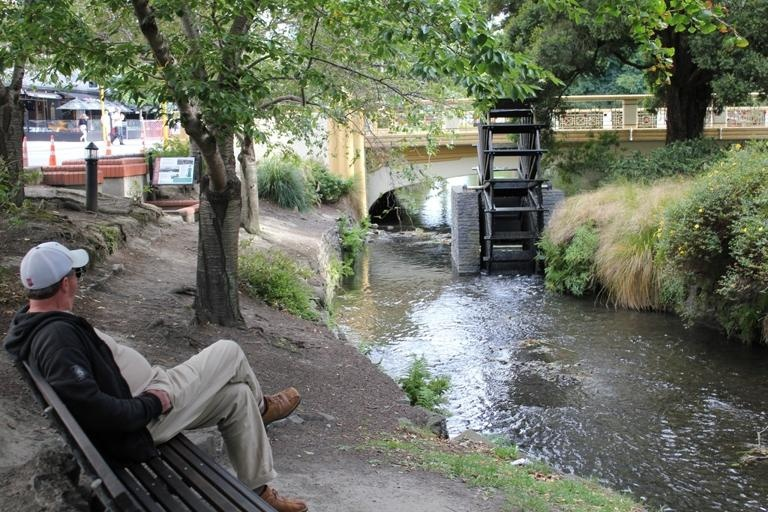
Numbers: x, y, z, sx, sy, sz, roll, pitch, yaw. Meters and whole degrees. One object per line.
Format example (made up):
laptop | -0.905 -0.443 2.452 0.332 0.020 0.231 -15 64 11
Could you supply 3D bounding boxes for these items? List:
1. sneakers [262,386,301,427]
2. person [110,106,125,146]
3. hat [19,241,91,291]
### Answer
sneakers | -0.827 1.180 5.166 0.432 0.178 0.159 -27 42 -37
person | -13.816 -6.601 32.868 0.822 2.209 0.645 -11 -18 12
hat | -2.174 0.040 4.202 0.281 0.218 0.401 15 37 30
